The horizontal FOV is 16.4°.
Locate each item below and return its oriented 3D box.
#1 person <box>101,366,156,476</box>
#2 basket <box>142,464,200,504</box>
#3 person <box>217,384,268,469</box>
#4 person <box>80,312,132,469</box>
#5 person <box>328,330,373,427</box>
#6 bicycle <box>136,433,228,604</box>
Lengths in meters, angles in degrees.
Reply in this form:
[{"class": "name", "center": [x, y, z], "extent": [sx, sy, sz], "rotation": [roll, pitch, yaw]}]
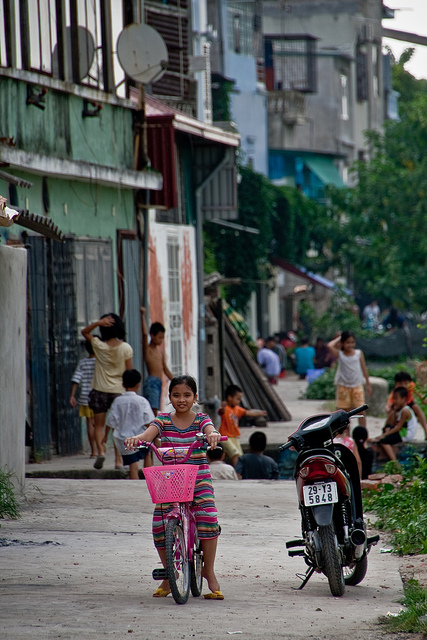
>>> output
[{"class": "person", "center": [-0.786, 0.988, 14.193], "extent": [0.415, 1.100, 0.388], "rotation": [5, 22, 11]}, {"class": "basket", "center": [-0.230, 0.899, 8.106], "extent": [0.228, 0.196, 0.202], "rotation": [-2, -3, 9]}, {"class": "person", "center": [0.231, 1.310, 16.676], "extent": [0.577, 1.086, 0.367], "rotation": [8, -10, -40]}, {"class": "person", "center": [-1.074, 0.729, 15.056], "extent": [0.439, 1.596, 0.508], "rotation": [5, 8, 8]}, {"class": "person", "center": [1.643, 0.779, 18.043], "extent": [0.462, 1.530, 0.352], "rotation": [-4, 23, 2]}, {"class": "bicycle", "center": [-0.182, 1.133, 8.289], "extent": [0.426, 0.859, 0.610], "rotation": [-4, 1, 22]}]
